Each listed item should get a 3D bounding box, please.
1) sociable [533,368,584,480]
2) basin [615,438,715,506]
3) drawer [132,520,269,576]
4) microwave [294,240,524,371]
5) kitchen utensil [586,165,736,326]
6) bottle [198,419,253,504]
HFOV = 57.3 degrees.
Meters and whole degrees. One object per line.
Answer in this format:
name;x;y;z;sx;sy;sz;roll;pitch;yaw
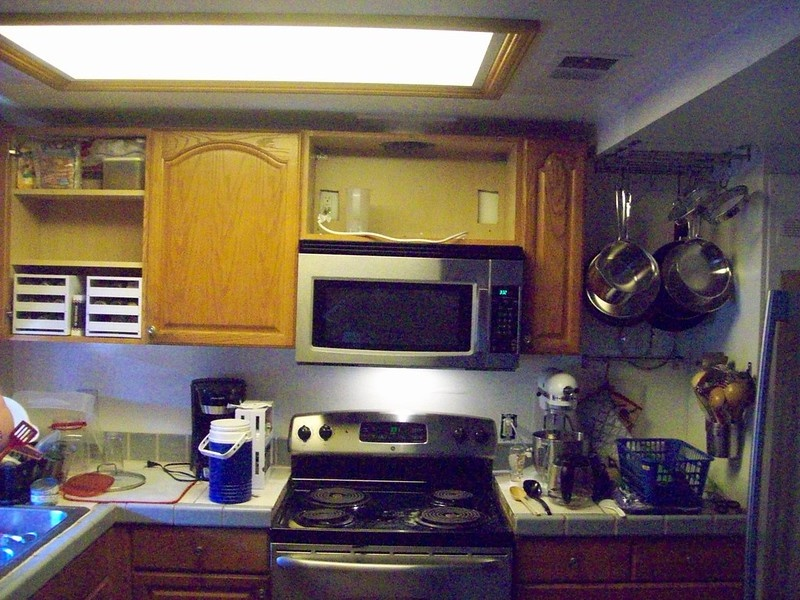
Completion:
sociable;0.706;0.566;3.271;0.223;0.477;0.463;0;-2;11
basin;1.134;0.743;3.164;0.388;0.238;0.363;1;-2;0
drawer;-0.929;1.091;3.103;0.632;0.196;0.440;15;-32;-37
microwave;0.048;0.026;3.311;1.003;0.571;0.569;1;9;-5
kitchen utensil;1.142;-0.209;3.198;0.524;0.636;0.239;2;-2;10
bottle;-0.730;0.674;3.085;0.233;0.300;0.236;1;-3;0
